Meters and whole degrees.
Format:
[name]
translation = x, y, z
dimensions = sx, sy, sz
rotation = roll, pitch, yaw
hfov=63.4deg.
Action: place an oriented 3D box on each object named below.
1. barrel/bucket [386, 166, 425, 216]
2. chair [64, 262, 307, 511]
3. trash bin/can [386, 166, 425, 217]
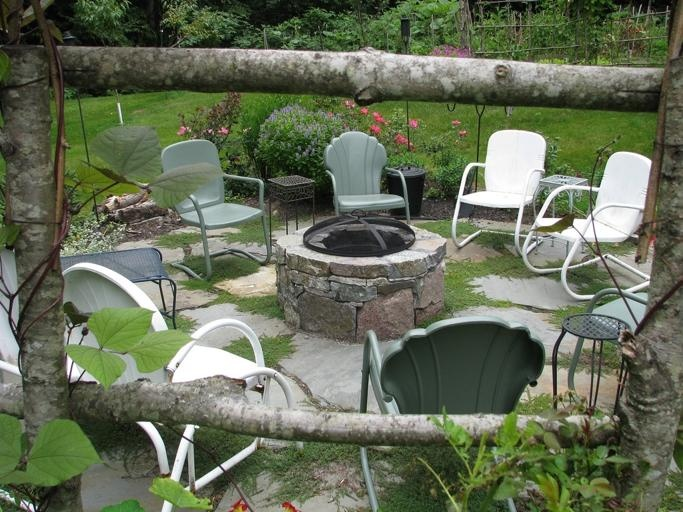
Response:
[barrel/bucket]
translation = 0.780, -0.771, 6.586
dimensions = 0.537, 0.597, 0.558
rotation = -2, 14, 0
[chair]
translation = -0.680, 0.419, 2.671
dimensions = 0.910, 1.317, 1.059
rotation = 12, 18, 42
[trash bin/can]
translation = 0.777, -0.749, 6.482
dimensions = 0.557, 0.615, 0.562
rotation = -7, 14, -18
